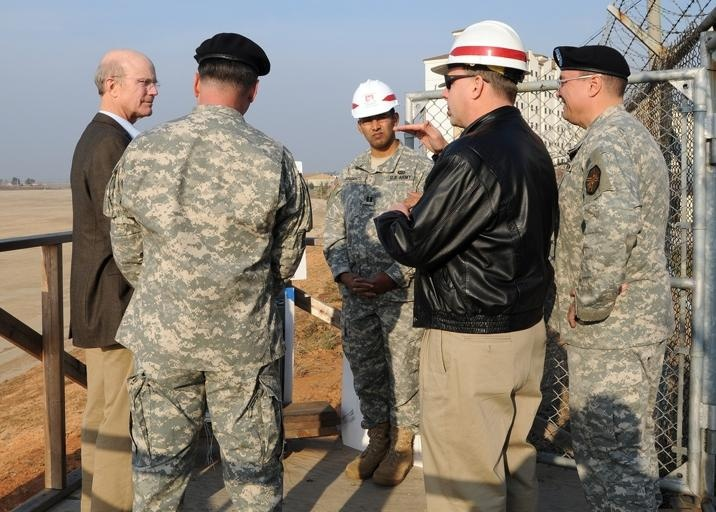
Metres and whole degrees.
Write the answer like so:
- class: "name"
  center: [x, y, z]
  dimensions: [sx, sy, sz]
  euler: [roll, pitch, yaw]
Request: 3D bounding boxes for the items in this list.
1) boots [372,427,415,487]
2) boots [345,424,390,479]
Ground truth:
- class: "boots"
  center: [0.247, 1.430, 5.875]
  dimensions: [0.186, 0.340, 0.558]
  euler: [2, 5, 16]
- class: "boots"
  center: [0.091, 1.415, 5.948]
  dimensions: [0.169, 0.330, 0.510]
  euler: [10, 15, 35]
